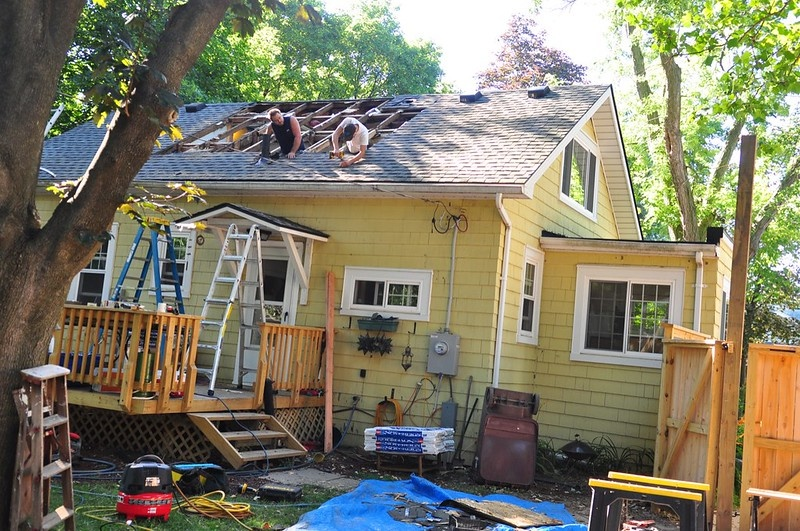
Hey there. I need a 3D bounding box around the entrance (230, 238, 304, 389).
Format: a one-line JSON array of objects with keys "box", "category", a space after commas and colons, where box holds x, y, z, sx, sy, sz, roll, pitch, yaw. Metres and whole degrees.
[{"box": [-2.822, 0.556, 14.798, 1.225, 3.319, 1.193, -7, 6, -7], "category": "entrance"}]

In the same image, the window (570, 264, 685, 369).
[{"box": [4.339, 0.986, 14.451, 1.935, 1.776, 0.200, 3, -5, 20], "category": "window"}]

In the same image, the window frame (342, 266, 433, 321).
[{"box": [-0.261, 0.544, 14.457, 1.843, 1.015, 0.134, 3, -5, 31], "category": "window frame"}]

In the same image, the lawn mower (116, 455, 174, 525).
[{"box": [-3.221, 2.831, 9.771, 0.670, 0.693, 0.673, -5, -12, 39], "category": "lawn mower"}]
